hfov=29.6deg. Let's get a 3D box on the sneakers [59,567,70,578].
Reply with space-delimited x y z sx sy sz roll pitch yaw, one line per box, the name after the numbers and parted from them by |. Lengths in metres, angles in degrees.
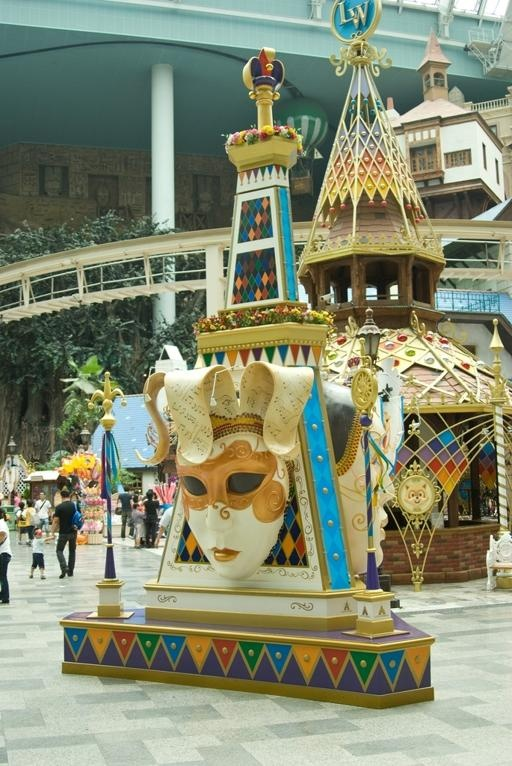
-3.225 3.219 16.216 0.093 0.117 0.254 9 -46 -24 | sneakers
